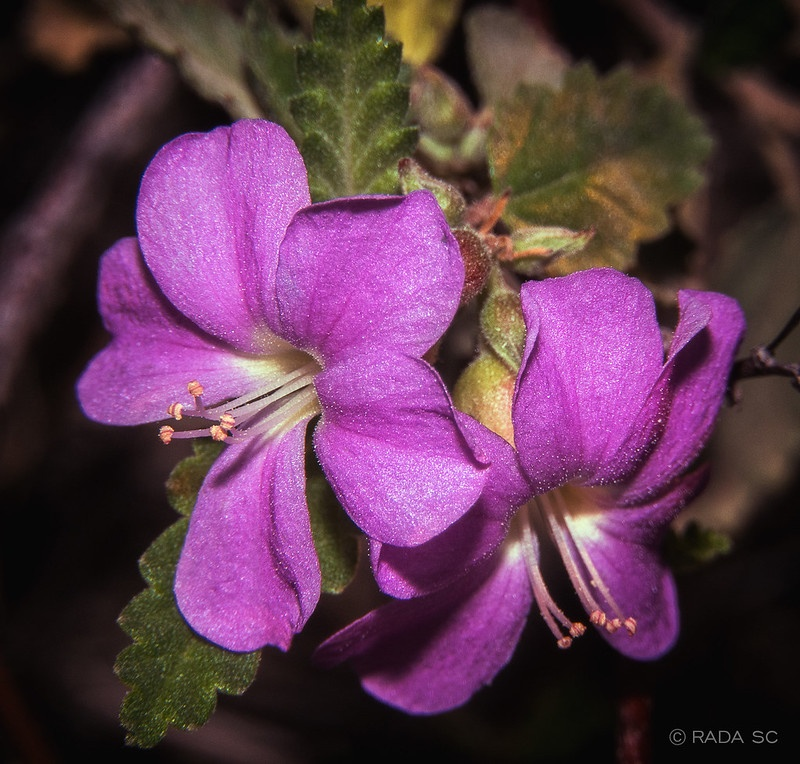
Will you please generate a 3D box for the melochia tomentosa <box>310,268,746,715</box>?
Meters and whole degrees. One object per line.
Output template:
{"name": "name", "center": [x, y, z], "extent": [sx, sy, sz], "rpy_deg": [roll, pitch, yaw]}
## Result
{"name": "melochia tomentosa", "center": [0.172, 0.164, 1.653], "extent": [0.645, 0.732, 0.470], "rpy_deg": [22, 89, -30]}
